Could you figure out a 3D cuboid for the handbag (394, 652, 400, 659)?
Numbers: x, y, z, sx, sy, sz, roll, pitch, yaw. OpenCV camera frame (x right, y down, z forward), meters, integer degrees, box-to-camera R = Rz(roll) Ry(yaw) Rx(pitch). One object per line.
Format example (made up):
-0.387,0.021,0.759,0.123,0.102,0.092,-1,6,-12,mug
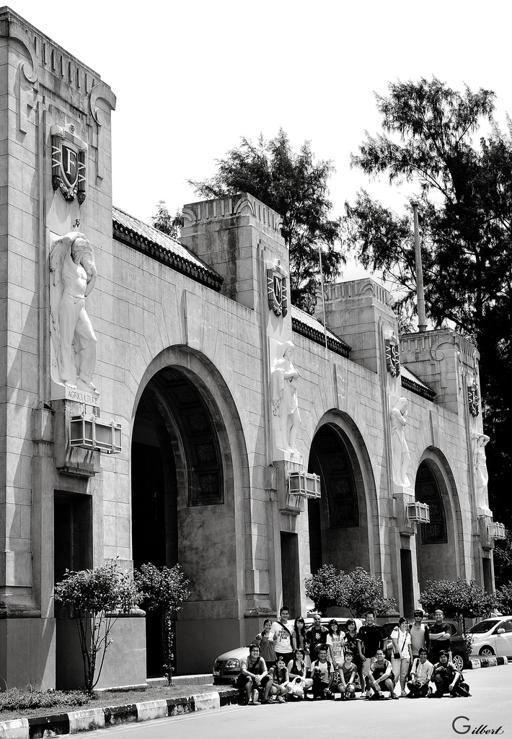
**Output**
2.345,4.746,16.365,0.077,0.127,0.094,1,-8,-17,handbag

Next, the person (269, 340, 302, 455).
0.781,0.693,24.778,0.437,3.176,1.292,-7,-14,22,person

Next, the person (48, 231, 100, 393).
-2.954,-1.035,16.153,0.372,2.669,1.172,-6,-14,17,person

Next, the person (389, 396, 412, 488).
4.864,2.502,33.207,0.407,3.340,1.255,-9,-15,27,person

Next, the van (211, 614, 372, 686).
0.461,5.533,19.051,3.059,1.414,1.550,17,-27,-32,van
